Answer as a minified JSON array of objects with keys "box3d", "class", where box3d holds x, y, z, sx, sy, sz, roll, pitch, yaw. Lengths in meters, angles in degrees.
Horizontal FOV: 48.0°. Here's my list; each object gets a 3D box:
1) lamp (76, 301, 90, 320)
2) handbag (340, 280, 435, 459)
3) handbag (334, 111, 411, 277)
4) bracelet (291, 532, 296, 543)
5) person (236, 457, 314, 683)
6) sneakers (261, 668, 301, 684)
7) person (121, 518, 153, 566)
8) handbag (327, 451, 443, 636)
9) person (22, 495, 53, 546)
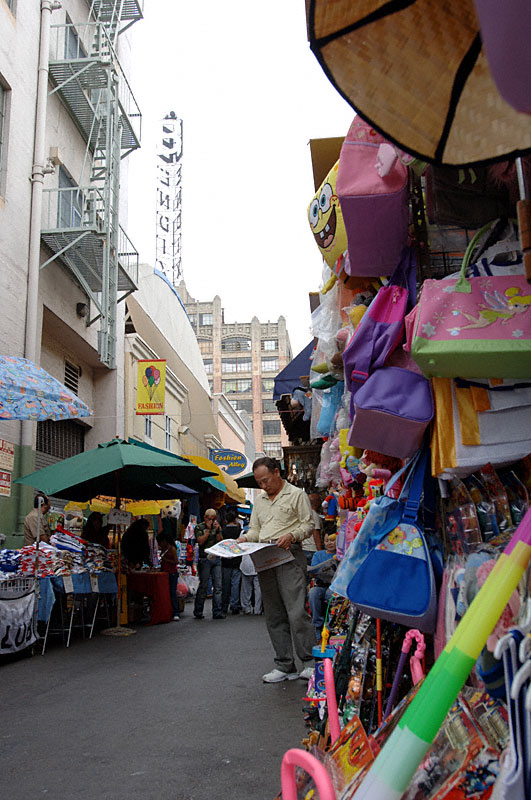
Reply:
[{"box3d":[-4.692,-2.182,15.162,0.318,0.426,0.616,-3,-2,-2],"class":"lamp"},{"box3d":[0.523,-0.129,2.459,0.381,0.960,0.286,18,-52,2],"class":"handbag"},{"box3d":[0.512,-0.986,2.812,0.308,0.641,0.527,-2,-10,11],"class":"handbag"},{"box3d":[0.271,1.315,5.680,0.030,0.093,0.066,-4,-11,-2],"class":"bracelet"},{"box3d":[0.150,1.675,5.937,0.707,2.233,0.955,0,-9,0],"class":"person"},{"box3d":[0.175,2.711,5.905,0.407,0.180,0.141,8,-18,-23],"class":"sneakers"},{"box3d":[-2.649,2.842,12.285,0.492,0.963,0.534,7,16,-17],"class":"person"},{"box3d":[0.448,0.503,2.205,0.387,0.654,0.324,-1,-9,7],"class":"handbag"},{"box3d":[-3.395,1.801,8.819,0.373,0.756,2.510,4,-10,-21],"class":"person"}]
